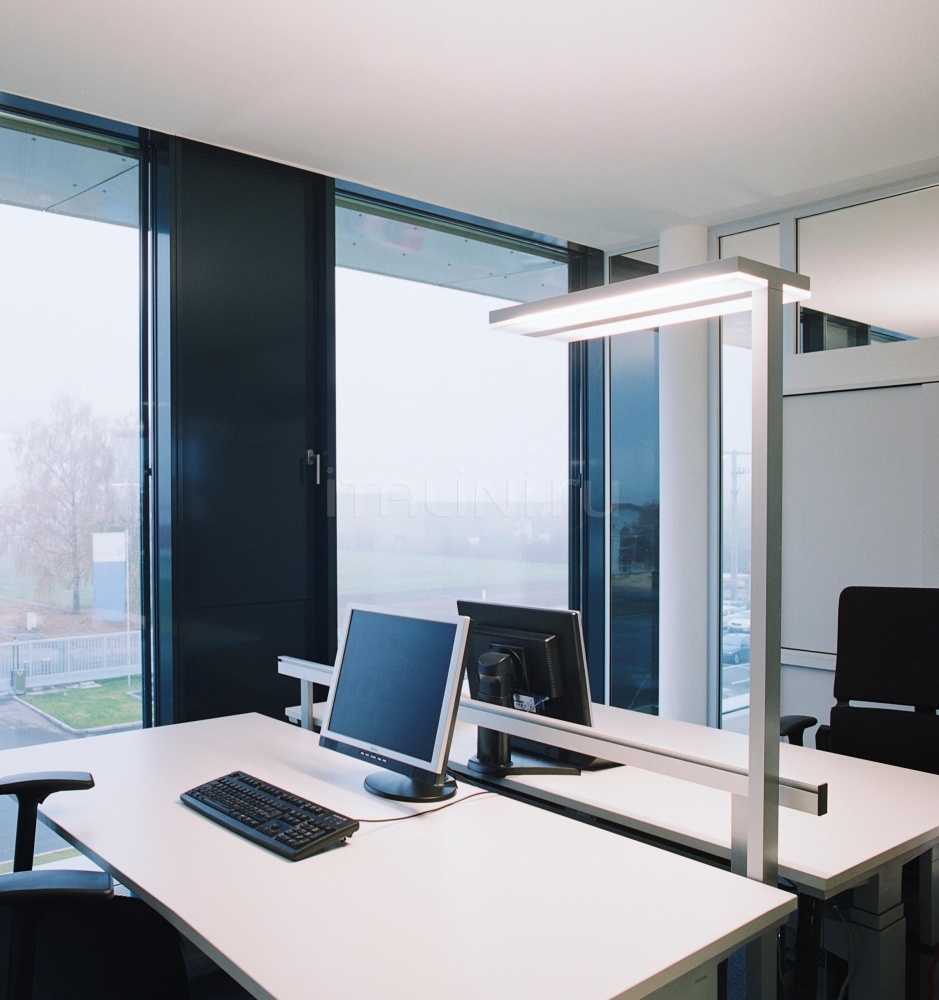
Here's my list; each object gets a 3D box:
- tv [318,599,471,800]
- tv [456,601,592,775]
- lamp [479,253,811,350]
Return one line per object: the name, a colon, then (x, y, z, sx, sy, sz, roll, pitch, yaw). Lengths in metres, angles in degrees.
tv: (-0.175, 0.496, 2.075, 0.231, 0.450, 0.448, 7, -10, -40)
tv: (0.142, 0.504, 2.288, 0.247, 0.432, 0.448, -7, 8, -42)
lamp: (0.358, -0.417, 1.913, 0.321, 0.119, 0.782, 1, -1, -34)
